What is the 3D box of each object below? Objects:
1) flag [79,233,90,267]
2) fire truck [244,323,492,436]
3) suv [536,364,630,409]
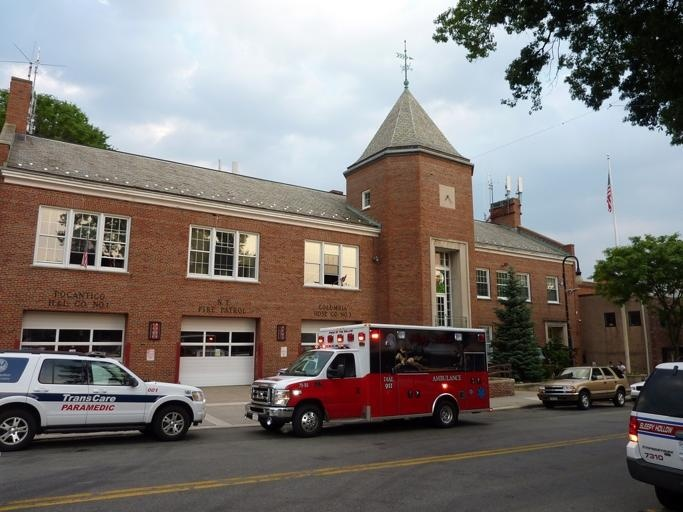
[{"bbox_3d":[-11.025,-0.199,23.491,0.334,1.356,0.518,3,-6,-22],"label":"flag"},{"bbox_3d":[1.151,4.056,17.226,8.094,3.450,2.813,3,-6,-29],"label":"fire truck"},{"bbox_3d":[11.144,6.044,25.321,4.358,1.856,1.685,5,-7,-34],"label":"suv"}]
